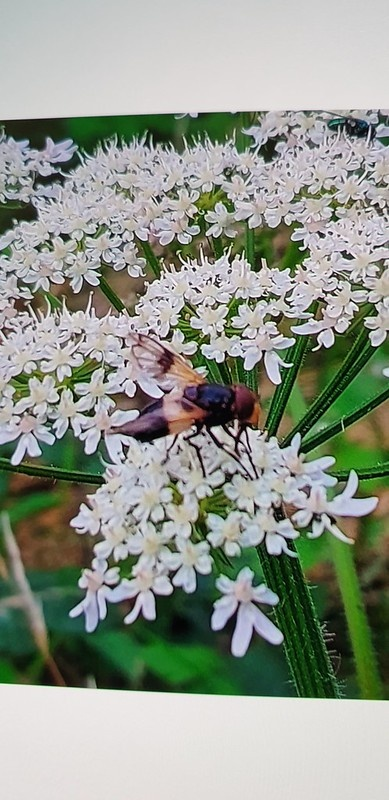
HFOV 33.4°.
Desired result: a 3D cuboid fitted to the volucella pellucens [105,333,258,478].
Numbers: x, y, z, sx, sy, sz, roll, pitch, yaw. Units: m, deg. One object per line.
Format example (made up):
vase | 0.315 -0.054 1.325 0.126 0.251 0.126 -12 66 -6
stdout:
volucella pellucens | -0.014 0.005 1.005 0.271 0.095 0.206 1 41 -17
